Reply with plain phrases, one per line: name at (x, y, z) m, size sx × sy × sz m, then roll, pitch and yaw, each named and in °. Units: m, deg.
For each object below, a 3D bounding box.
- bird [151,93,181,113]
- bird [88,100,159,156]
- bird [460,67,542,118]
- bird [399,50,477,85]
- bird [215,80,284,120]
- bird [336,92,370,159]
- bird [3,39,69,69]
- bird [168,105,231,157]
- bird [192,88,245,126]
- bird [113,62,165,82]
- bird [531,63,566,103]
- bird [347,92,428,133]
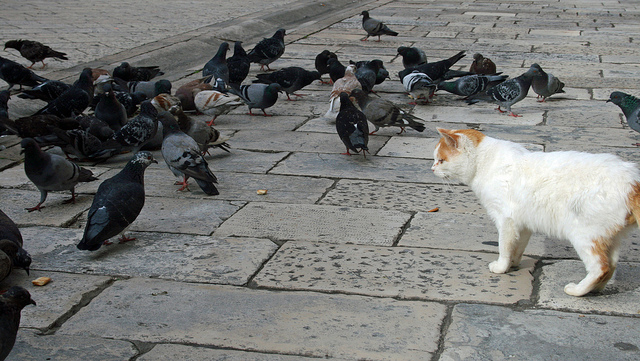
bird at (-2.473, -1.296, 9.459) m, size 0.560 × 0.242 × 0.375 m, roll -2°, pitch -7°, yaw -35°
bird at (-2.919, -0.710, 8.479) m, size 1.125 × 0.673 × 0.381 m, roll -20°, pitch 34°, yaw -28°
bird at (3.274, -1.578, 10.369) m, size 1.134 × 0.740 × 0.863 m, roll 1°, pitch 25°, yaw 20°
bird at (2.287, -2.174, 11.290) m, size 1.935 × 0.560 × 0.591 m, roll -12°, pitch 5°, yaw -23°
bird at (-1.220, -1.566, 10.531) m, size 1.593 × 0.686 × 0.536 m, roll 21°, pitch 35°, yaw 37°
bird at (0.488, -0.823, 8.749) m, size 0.483 × 0.895 × 0.954 m, roll -9°, pitch 23°, yaw 4°
bird at (-6.494, -2.791, 12.399) m, size 1.934 × 0.587 × 0.490 m, roll -3°, pitch 8°, yaw 5°
bird at (-1.823, -0.726, 8.595) m, size 0.435 × 0.649 × 1.179 m, roll 25°, pitch 19°, yaw 38°
bird at (-1.753, -1.330, 9.984) m, size 1.215 × 0.556 × 0.452 m, roll -4°, pitch 1°, yaw 27°
bird at (-3.588, -2.095, 11.112) m, size 1.070 × 0.362 × 0.328 m, roll -20°, pitch 15°, yaw -32°
bird at (4.314, -1.857, 10.803) m, size 0.975 × 0.585 × 0.505 m, roll -15°, pitch 28°, yaw -29°
bird at (1.158, -1.148, 9.643) m, size 1.785 × 0.663 × 0.532 m, roll 9°, pitch 10°, yaw 6°
